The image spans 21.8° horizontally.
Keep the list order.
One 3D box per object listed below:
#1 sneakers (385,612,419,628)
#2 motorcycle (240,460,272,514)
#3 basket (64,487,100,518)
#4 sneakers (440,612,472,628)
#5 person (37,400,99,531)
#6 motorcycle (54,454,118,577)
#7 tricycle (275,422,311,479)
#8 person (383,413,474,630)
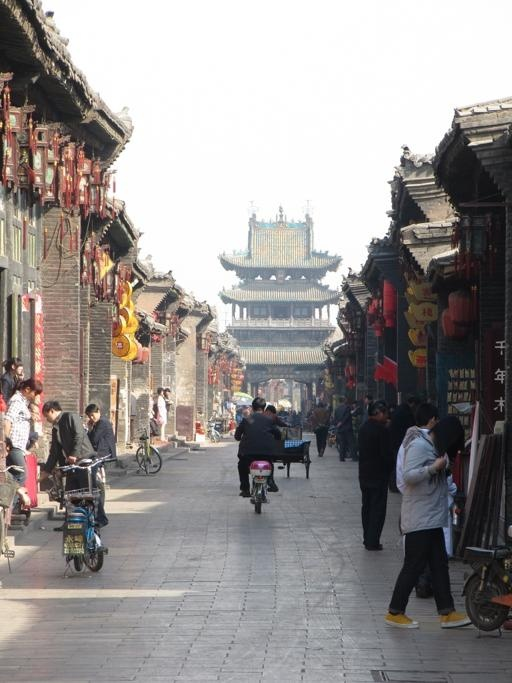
[{"bbox_3d":[1.015,1.951,9.302,0.222,0.117,0.090,1,5,3],"label":"sneakers"},{"bbox_3d":[-0.004,1.796,16.929,0.282,0.437,0.646,1,-2,1],"label":"motorcycle"},{"bbox_3d":[-1.577,1.484,11.962,0.241,0.261,0.381,2,6,5],"label":"basket"},{"bbox_3d":[1.382,1.949,9.329,0.222,0.122,0.090,-3,3,0],"label":"sneakers"},{"bbox_3d":[-1.977,1.342,13.871,0.492,0.464,1.278,4,25,-19],"label":"person"},{"bbox_3d":[-1.582,1.648,11.966,0.454,0.637,0.970,-1,7,2],"label":"motorcycle"},{"bbox_3d":[0.691,2.147,24.210,0.667,0.972,1.153,0,5,2],"label":"tricycle"},{"bbox_3d":[1.243,1.291,9.672,0.491,1.583,0.483,3,-5,-10],"label":"person"}]
